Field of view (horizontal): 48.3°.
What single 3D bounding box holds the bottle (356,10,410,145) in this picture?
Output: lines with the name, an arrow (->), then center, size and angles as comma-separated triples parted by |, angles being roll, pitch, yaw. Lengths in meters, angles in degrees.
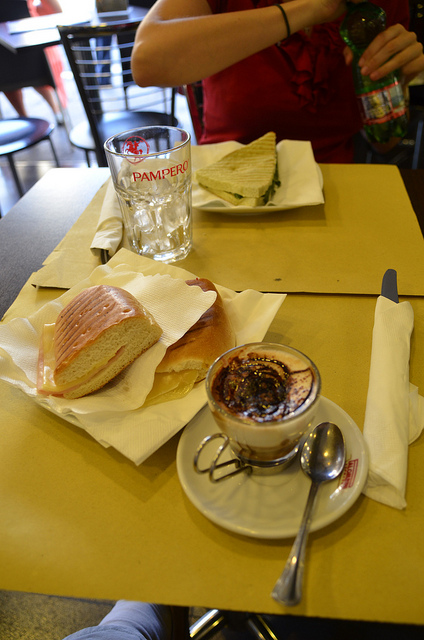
bottle -> 0.296, -0.421, 0.822 | 0.087, 0.195, 0.259 | 3, 37, 19

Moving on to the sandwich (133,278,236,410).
sandwich -> -0.015, 0.013, 0.554 | 0.113, 0.047, 0.156 | -15, 28, 26

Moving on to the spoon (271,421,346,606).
spoon -> 0.094, 0.141, 0.398 | 0.036, 0.023, 0.195 | -8, 32, 32

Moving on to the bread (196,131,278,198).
bread -> 0.054, -0.318, 0.913 | 0.146, 0.041, 0.157 | 31, 67, 31

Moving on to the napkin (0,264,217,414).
napkin -> -0.096, 0.017, 0.512 | 0.181, 0.037, 0.172 | -32, 43, -23

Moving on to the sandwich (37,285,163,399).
sandwich -> -0.131, 0.000, 0.536 | 0.144, 0.061, 0.153 | -21, 37, -15

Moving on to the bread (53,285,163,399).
bread -> -0.136, 0.004, 0.530 | 0.113, 0.054, 0.152 | -29, 37, -21

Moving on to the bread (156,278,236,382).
bread -> -0.023, 0.000, 0.562 | 0.088, 0.046, 0.161 | 5, 41, 1

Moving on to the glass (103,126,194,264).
glass -> -0.091, -0.224, 0.813 | 0.146, 0.195, 0.210 | -15, 35, -7

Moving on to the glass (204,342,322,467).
glass -> 0.042, 0.063, 0.437 | 0.098, 0.087, 0.108 | -5, 41, -1

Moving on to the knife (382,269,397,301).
knife -> 0.253, -0.050, 0.662 | 0.018, 0.004, 0.075 | -3, 34, 20
